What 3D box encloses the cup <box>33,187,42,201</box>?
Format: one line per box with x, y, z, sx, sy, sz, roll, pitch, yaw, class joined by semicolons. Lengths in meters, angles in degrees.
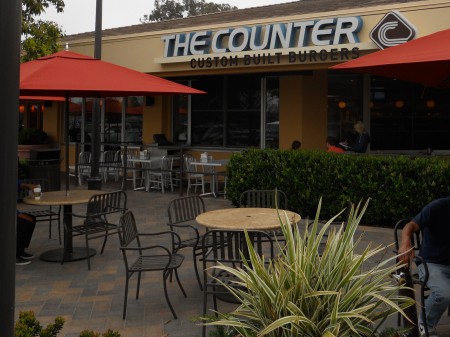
-2.834;0.383;6.124;0.166;0.202;0.162;1;3;0;cup

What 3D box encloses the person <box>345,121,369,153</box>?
3.356;-0.658;10.329;0.556;1.031;0.587;9;20;32;person

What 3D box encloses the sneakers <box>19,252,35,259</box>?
-3.001;1.307;6.157;0.210;0.082;0.078;5;5;1;sneakers

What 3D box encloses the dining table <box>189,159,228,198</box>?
-0.751;0.153;11.745;0.918;1.118;0.818;-6;3;-40;dining table

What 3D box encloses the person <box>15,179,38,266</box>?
-2.965;0.796;6.089;0.360;1.160;0.762;-5;7;-25;person

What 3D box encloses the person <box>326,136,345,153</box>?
2.578;-0.536;9.651;0.594;0.291;0.745;-4;5;0;person

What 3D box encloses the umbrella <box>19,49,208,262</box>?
-2.116;-0.430;6.945;3.265;2.663;3.248;0;0;-2;umbrella

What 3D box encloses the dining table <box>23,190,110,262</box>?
-2.527;0.814;6.401;1.157;0.811;1.154;-1;-1;3;dining table
